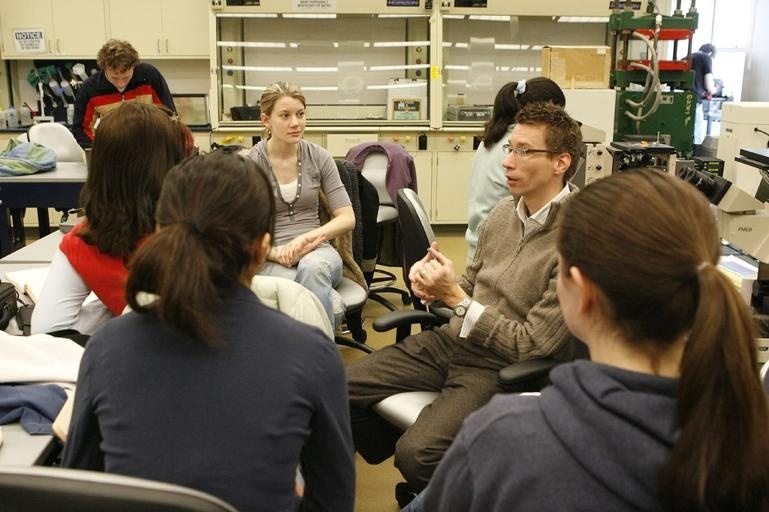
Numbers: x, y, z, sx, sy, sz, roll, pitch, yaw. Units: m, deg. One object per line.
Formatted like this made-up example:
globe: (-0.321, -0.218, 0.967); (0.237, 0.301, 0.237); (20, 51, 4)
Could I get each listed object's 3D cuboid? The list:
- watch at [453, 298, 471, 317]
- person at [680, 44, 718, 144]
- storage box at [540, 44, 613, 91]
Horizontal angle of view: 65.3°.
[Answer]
watch: (0.277, 0.182, 2.158); (0.040, 0.070, 0.069); (35, 9, 6)
person: (3.990, -2.064, 7.542); (0.316, 1.249, 2.101); (5, 14, 27)
storage box: (1.415, -1.376, 4.420); (0.474, 0.291, 0.109); (-1, 12, 1)
